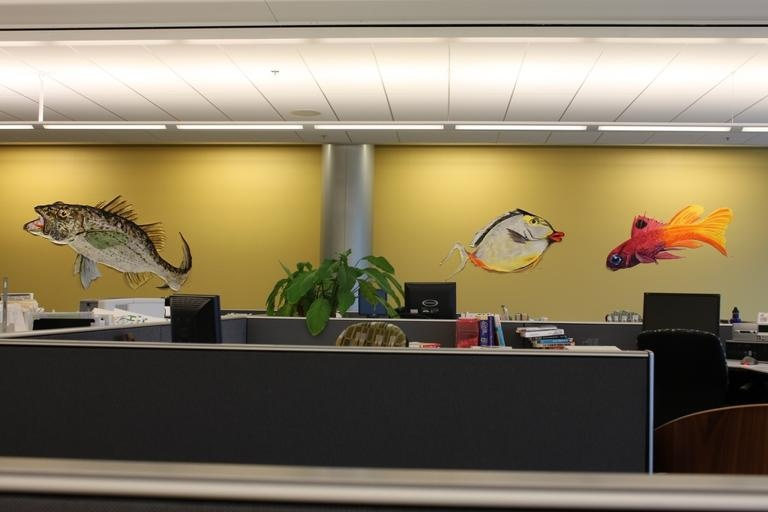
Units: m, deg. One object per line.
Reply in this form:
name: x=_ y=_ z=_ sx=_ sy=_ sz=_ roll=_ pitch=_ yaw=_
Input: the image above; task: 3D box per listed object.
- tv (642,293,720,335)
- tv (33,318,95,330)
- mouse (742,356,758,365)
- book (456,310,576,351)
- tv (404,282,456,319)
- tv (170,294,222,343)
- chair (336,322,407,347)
tv: x=2.554 y=0.482 z=5.491 sx=0.694 sy=0.373 sz=0.437 roll=0 pitch=-8 yaw=16
tv: x=-2.530 y=0.528 z=5.005 sx=0.453 sy=0.078 sz=0.143 roll=0 pitch=-1 yaw=-14
mouse: x=2.984 y=0.859 z=5.194 sx=0.136 sy=0.053 sz=0.079 roll=3 pitch=0 yaw=36
book: x=1.116 y=0.648 z=5.412 sx=1.094 sy=0.307 sz=0.516 roll=0 pitch=-1 yaw=-21
tv: x=0.449 y=0.392 z=5.980 sx=0.710 sy=0.395 sz=0.321 roll=1 pitch=3 yaw=6
tv: x=-1.248 y=0.415 z=4.194 sx=0.398 sy=0.415 sz=0.053 roll=2 pitch=7 yaw=8
chair: x=-0.101 y=0.603 z=4.932 sx=0.325 sy=0.172 sz=0.531 roll=1 pitch=-1 yaw=-39
